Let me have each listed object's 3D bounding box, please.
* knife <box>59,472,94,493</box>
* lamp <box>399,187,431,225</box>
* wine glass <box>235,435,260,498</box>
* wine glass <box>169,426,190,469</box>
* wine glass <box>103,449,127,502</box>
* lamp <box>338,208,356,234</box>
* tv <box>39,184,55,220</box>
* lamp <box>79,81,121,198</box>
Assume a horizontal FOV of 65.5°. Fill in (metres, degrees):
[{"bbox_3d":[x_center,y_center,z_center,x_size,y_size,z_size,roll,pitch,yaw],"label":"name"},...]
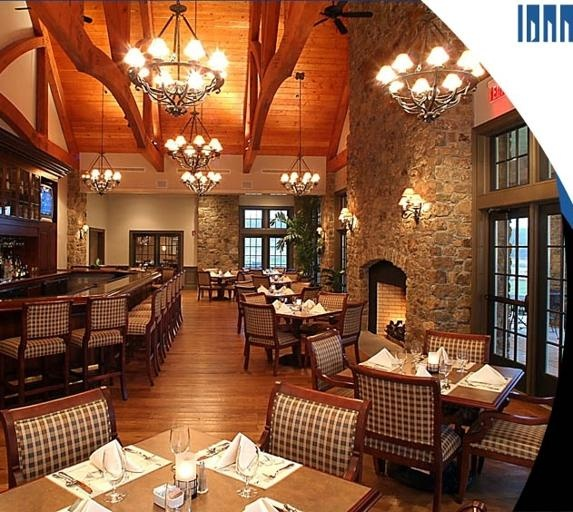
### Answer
[{"bbox_3d":[-0.809,0.860,1.727,0.053,0.029,0.253,-3,5,-39],"label":"knife"},{"bbox_3d":[1.822,-0.638,6.339,0.422,0.653,0.598,-4,-11,26],"label":"lamp"},{"bbox_3d":[-0.153,0.809,1.737,0.083,0.170,0.202,0,2,-7],"label":"wine glass"},{"bbox_3d":[-0.394,0.709,1.663,0.062,0.159,0.110,0,2,-11],"label":"wine glass"},{"bbox_3d":[-0.647,0.804,1.685,0.073,0.166,0.210,-1,2,-21],"label":"wine glass"},{"bbox_3d":[1.274,-0.727,9.186,0.209,0.536,0.643,0,2,-9],"label":"lamp"},{"bbox_3d":[-5.322,-1.213,9.981,0.154,0.801,0.978,-1,2,-19],"label":"tv"},{"bbox_3d":[-4.449,-2.736,10.808,0.850,2.690,3.024,-1,2,-21],"label":"lamp"}]
